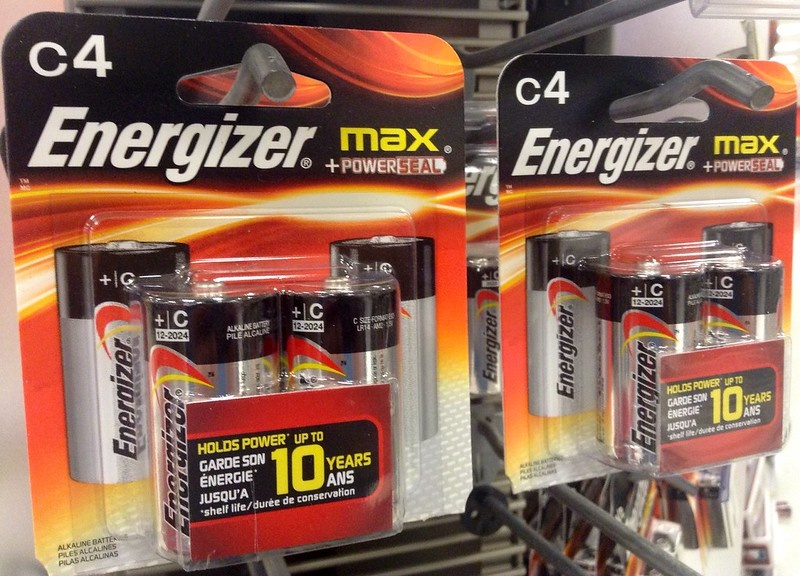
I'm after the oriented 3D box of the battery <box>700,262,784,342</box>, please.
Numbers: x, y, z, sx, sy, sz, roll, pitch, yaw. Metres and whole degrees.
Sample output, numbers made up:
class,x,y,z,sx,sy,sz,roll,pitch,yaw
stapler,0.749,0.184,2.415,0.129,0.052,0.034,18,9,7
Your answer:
class,x,y,z,sx,sy,sz,roll,pitch,yaw
battery,0.596,0.032,1.322,0.120,0.120,0.117,0,-1,26
